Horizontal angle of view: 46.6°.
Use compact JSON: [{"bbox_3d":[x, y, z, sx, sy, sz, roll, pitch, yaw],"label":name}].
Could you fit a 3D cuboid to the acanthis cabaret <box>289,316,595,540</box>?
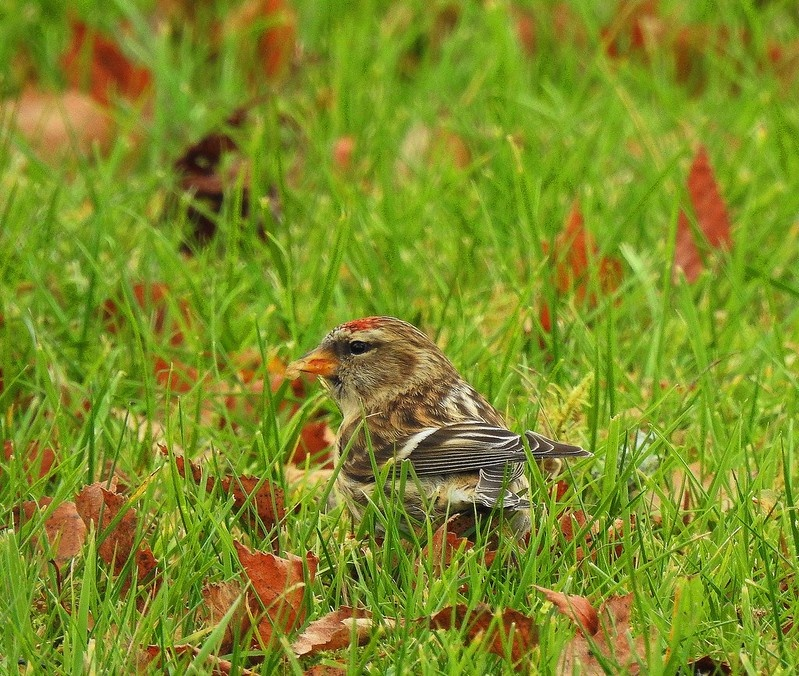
[{"bbox_3d":[0.066,0.258,3.002,0.499,0.795,0.999,-24,7,-36],"label":"acanthis cabaret"}]
